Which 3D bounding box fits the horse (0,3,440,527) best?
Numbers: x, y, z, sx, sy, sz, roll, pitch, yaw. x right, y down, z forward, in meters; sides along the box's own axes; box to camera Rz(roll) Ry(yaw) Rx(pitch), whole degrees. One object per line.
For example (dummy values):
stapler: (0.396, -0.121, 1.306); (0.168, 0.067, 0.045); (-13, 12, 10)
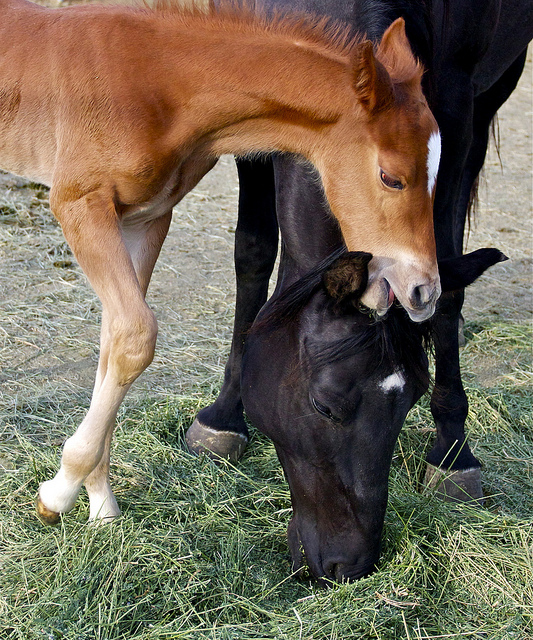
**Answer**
horse: (-0.163, -0.079, 2.024); (1.156, 1.366, 0.552); (8, 24, 6)
